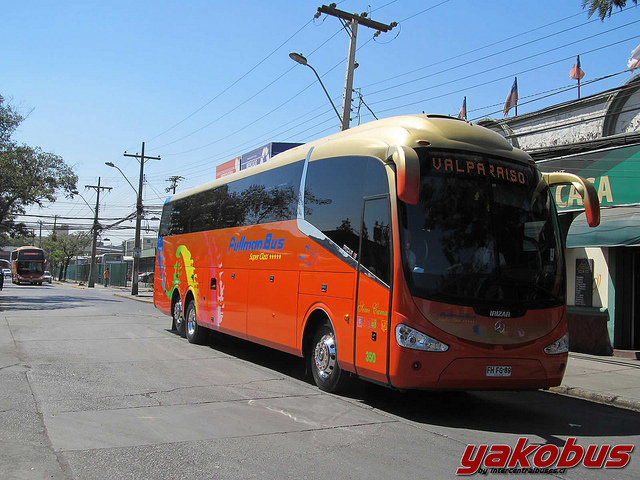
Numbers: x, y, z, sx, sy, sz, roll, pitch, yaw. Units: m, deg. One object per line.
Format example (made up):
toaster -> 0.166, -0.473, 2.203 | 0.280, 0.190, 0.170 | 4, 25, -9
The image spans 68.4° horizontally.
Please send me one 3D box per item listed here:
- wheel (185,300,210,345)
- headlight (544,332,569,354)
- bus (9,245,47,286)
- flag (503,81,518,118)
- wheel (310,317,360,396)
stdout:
wheel -> -3.567, 2.428, 13.907 | 0.446, 1.385, 1.281 | 3, -3, -27
headlight -> 3.766, 1.615, 7.501 | 0.290, 0.178, 0.383 | 1, -7, -23
bus -> -36.015, 3.084, 58.365 | 2.733, 4.738, 4.734 | 6, -5, -43
flag -> 8.852, -6.596, 21.930 | 0.487, 1.994, 2.118 | 1, -4, 20
wheel -> 0.207, 2.138, 8.760 | 0.447, 1.241, 1.159 | 7, -12, -27
